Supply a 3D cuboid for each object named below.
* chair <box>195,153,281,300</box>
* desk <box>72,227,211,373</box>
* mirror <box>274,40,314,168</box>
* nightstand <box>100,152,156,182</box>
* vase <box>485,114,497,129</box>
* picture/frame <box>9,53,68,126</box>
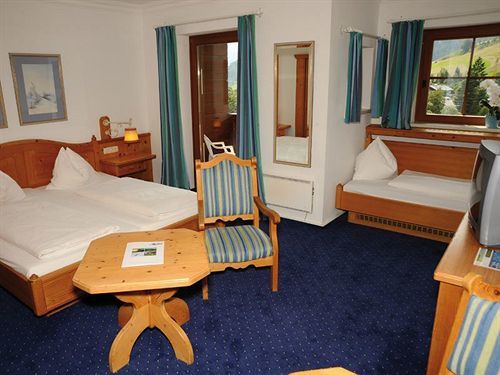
[{"bbox_3d":[-0.116,0.395,3.952,0.875,1.387,0.881,-7,21,-10],"label":"chair"},{"bbox_3d":[-0.973,0.809,3.394,1.065,0.936,1.139,-6,30,-18],"label":"desk"},{"bbox_3d":[0.628,-1.183,5.200,0.587,1.700,0.321,4,21,18],"label":"mirror"},{"bbox_3d":[-2.077,-0.538,6.072,0.440,0.694,0.682,10,17,30],"label":"nightstand"},{"bbox_3d":[3.582,-0.990,5.348,0.167,0.189,0.172,4,17,23],"label":"vase"},{"bbox_3d":[-3.075,-1.431,5.169,0.039,1.207,0.834,7,18,36],"label":"picture/frame"}]
